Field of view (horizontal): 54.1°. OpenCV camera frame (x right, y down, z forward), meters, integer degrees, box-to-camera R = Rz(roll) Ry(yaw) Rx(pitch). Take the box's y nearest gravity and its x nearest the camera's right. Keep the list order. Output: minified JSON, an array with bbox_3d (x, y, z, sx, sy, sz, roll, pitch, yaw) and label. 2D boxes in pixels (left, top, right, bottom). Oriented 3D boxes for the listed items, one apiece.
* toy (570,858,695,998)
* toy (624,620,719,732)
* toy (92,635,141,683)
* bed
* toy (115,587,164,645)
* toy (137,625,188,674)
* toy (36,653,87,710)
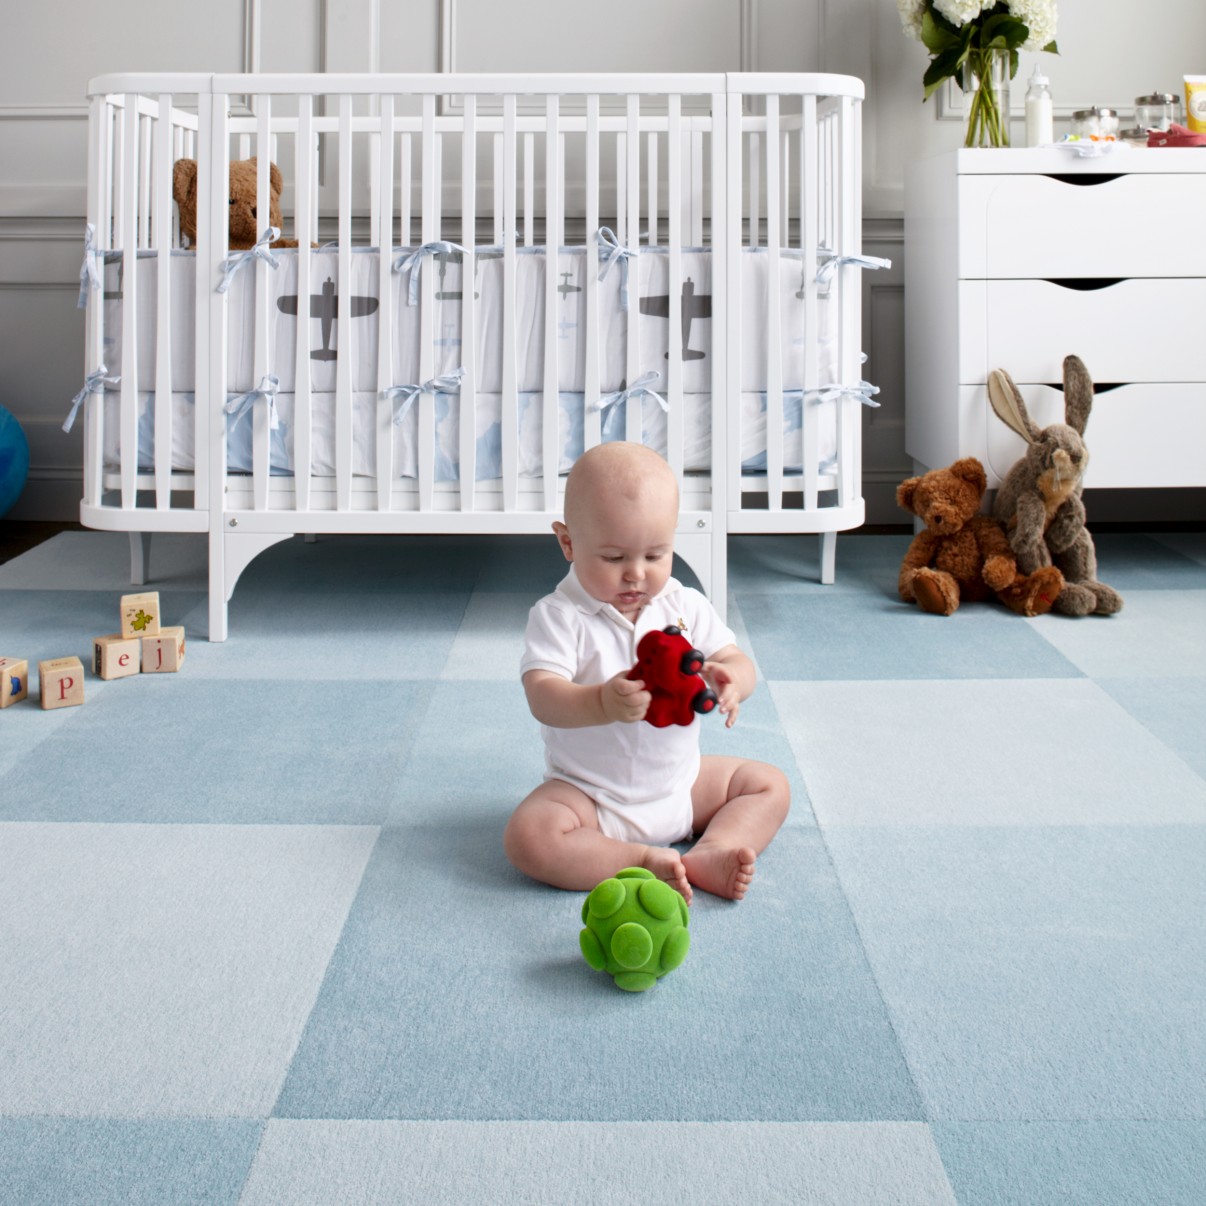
[{"bbox_3d":[0.027,0.297,1.075,0.094,0.089,0.101,-10,15,-39],"label":"toy"},{"bbox_3d":[0.066,0.073,1.132,0.100,0.093,0.078,-2,10,25],"label":"toy"},{"bbox_3d":[-0.853,0.101,2.068,0.073,0.064,0.069,-2,7,-20],"label":"toy"},{"bbox_3d":[-0.296,-0.607,3.021,2.237,1.388,1.505,0,6,-1],"label":"bed"},{"bbox_3d":[-0.827,0.023,2.168,0.110,0.099,0.102,2,20,-11],"label":"toy"},{"bbox_3d":[-0.792,0.086,2.114,0.078,0.069,0.072,2,12,4],"label":"toy"},{"bbox_3d":[-0.888,0.135,1.926,0.077,0.071,0.075,-1,1,-33],"label":"toy"}]
